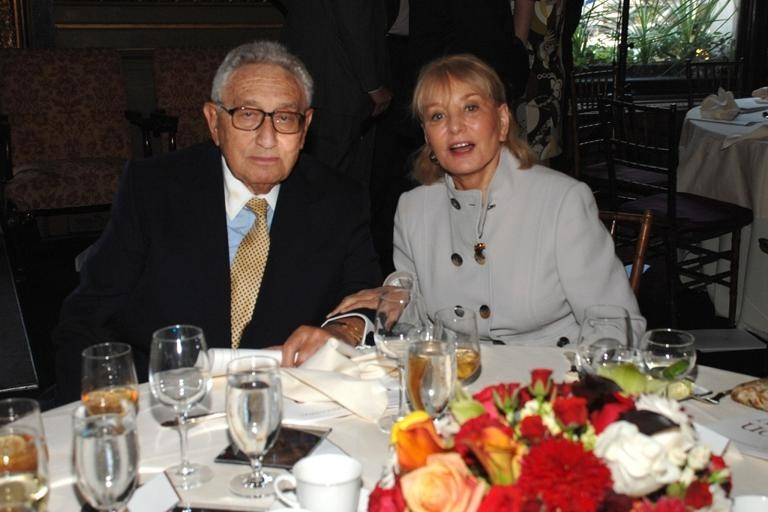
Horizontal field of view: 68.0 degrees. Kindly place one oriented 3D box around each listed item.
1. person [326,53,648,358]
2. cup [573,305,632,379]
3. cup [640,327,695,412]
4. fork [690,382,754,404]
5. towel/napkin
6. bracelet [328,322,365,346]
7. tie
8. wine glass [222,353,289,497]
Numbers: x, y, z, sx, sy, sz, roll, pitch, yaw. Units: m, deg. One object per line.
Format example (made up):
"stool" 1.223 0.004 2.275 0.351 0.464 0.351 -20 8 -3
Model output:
"person" 0.250 -0.134 2.216 1.375 1.165 0.789 -4 9 33
"cup" 0.525 0.197 1.360 0.157 0.223 0.156 -1 -4 0
"cup" 0.680 0.281 1.378 0.126 0.199 0.136 4 -4 0
"fork" 0.828 0.338 1.392 0.133 0.020 0.023 -10 26 -35
"towel/napkin" -0.145 0.305 1.360 0.260 0.090 0.259 -6 11 -37
"bracelet" -0.117 0.239 1.800 0.093 0.059 0.073 32 14 26
"tie" -0.466 0.053 1.921 0.114 0.493 0.055 2 -11 -7
"wine glass" -0.272 0.349 1.200 0.113 0.233 0.225 -3 5 -15
